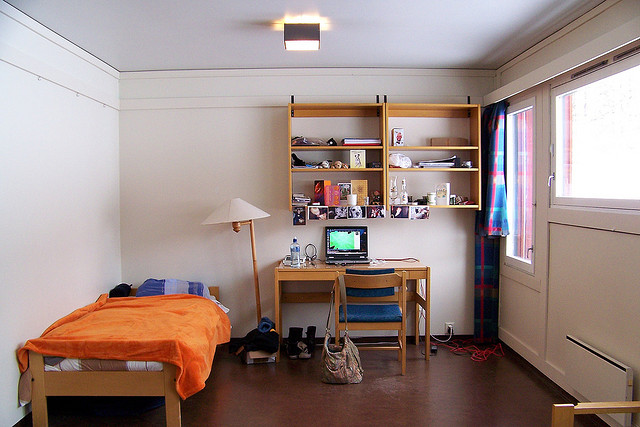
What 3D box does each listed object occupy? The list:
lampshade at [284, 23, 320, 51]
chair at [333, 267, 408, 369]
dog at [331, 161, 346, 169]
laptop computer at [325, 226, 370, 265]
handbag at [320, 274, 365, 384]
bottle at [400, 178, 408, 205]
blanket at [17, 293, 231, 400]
[{"bbox_3d":[-0.181,-1.777,4.725,0.346,0.201,0.240,0,3,-1],"label":"lampshade"},{"bbox_3d":[0.546,1.066,5.296,1.052,1.418,0.986,0,-1,3],"label":"chair"},{"bbox_3d":[0.210,-0.570,5.467,0.164,0.092,0.194,0,3,-3],"label":"dog"},{"bbox_3d":[0.324,0.351,5.462,0.539,0.421,0.355,0,2,-8],"label":"laptop computer"},{"bbox_3d":[0.251,1.156,5.030,0.444,1.077,0.686,0,3,5],"label":"handbag"},{"bbox_3d":[0.991,-0.274,5.585,0.087,0.310,0.166,1,4,8],"label":"bottle"},{"bbox_3d":[-1.765,1.123,4.437,1.118,0.407,1.107,1,5,-3],"label":"blanket"}]
